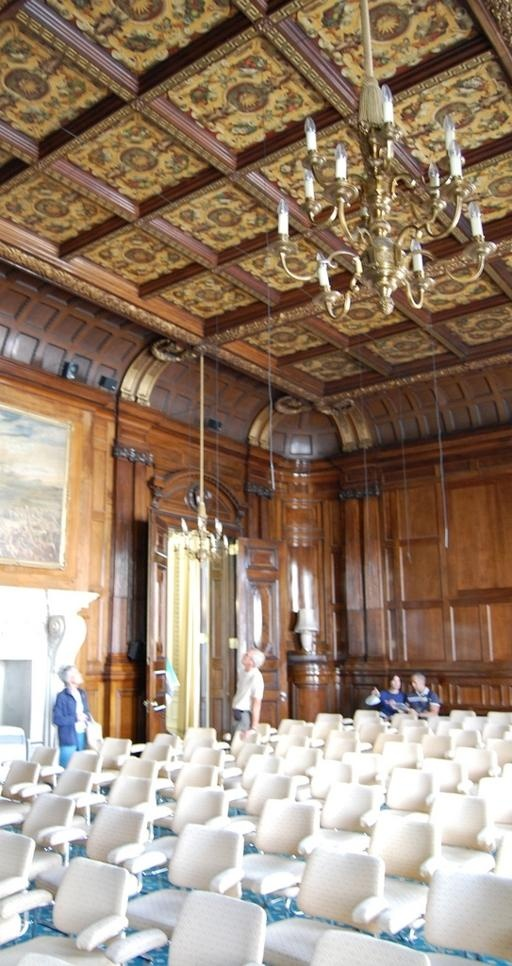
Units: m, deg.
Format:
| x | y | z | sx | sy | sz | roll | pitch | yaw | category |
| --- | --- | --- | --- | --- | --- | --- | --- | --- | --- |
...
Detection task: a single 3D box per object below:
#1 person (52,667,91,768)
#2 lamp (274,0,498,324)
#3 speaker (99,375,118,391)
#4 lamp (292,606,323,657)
| x | y | z | sx | sy | sz | roll | pitch | yaw | category |
| --- | --- | --- | --- | --- | --- | --- | --- | --- | --- |
| -1.767 | 2.445 | 6.046 | 0.357 | 1.216 | 0.319 | -3 | 5 | -40 | person |
| 0.857 | -2.195 | 4.065 | 1.175 | 2.519 | 1.110 | 3 | -26 | -8 | lamp |
| -2.092 | -1.413 | 8.647 | 0.107 | 0.179 | 0.199 | -30 | -31 | 33 | speaker |
| 0.952 | 2.776 | 11.459 | 0.647 | 1.253 | 0.660 | -5 | -18 | 11 | lamp |
